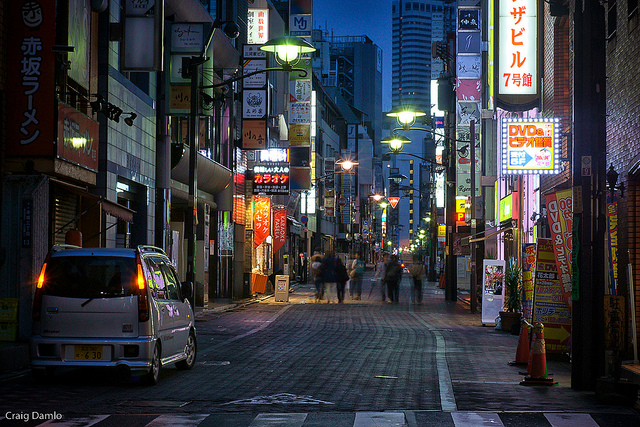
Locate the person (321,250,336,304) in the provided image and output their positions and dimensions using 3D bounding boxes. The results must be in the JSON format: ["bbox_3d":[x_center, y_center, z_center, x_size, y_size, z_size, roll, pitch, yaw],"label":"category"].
[{"bbox_3d":[0.401,3.039,34.420,0.690,2.578,1.476,0,-4,0],"label":"person"}]

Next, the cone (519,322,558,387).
[{"bbox_3d":[4.311,2.802,14.299,0.827,1.252,0.518,4,-6,-43],"label":"cone"}]

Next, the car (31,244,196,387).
[{"bbox_3d":[-4.012,1.978,14.110,2.974,2.690,1.750,2,-5,-25],"label":"car"}]
